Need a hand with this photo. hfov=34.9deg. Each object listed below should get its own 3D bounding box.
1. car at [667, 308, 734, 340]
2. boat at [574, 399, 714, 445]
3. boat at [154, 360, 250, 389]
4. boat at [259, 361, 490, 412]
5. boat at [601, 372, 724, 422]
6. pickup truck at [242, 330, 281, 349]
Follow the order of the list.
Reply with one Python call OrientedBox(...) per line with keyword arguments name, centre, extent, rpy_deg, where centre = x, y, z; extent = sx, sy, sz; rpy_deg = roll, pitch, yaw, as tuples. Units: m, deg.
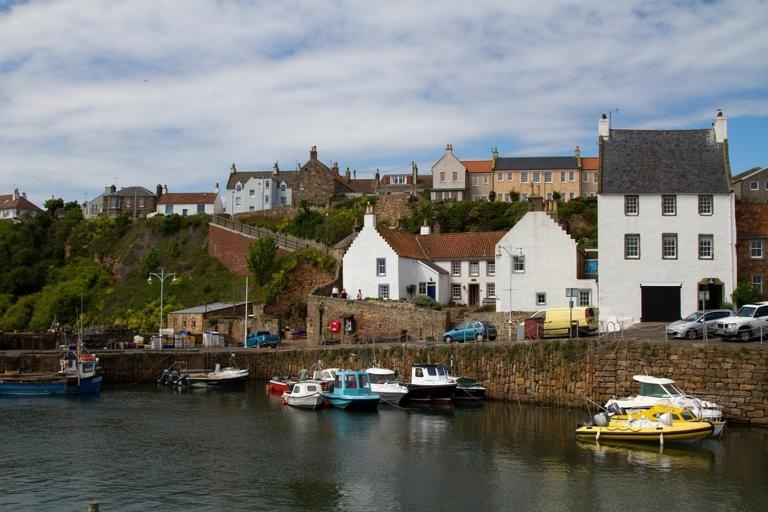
OrientedBox(name="car", centre=(22.686, 4.852, 87.403), extent=(4.516, 1.388, 2.078), rpy_deg=(0, -3, -20))
OrientedBox(name="boat", centre=(17.605, 11.291, 81.580), extent=(8.201, 2.655, 1.055), rpy_deg=(-3, -5, 20))
OrientedBox(name="boat", centre=(-15.962, 10.502, 105.662), extent=(9.023, 2.814, 2.884), rpy_deg=(-2, -2, 8))
OrientedBox(name="boat", centre=(-1.692, 10.151, 96.743), extent=(19.536, 3.082, 5.138), rpy_deg=(-5, -6, 36))
OrientedBox(name="boat", centre=(20.646, 9.571, 82.884), extent=(9.289, 3.131, 3.003), rpy_deg=(1, 1, 24))
OrientedBox(name="pickup truck", centre=(-10.961, 7.518, 109.602), extent=(1.532, 0.969, 3.106), rpy_deg=(2, -3, -39))
